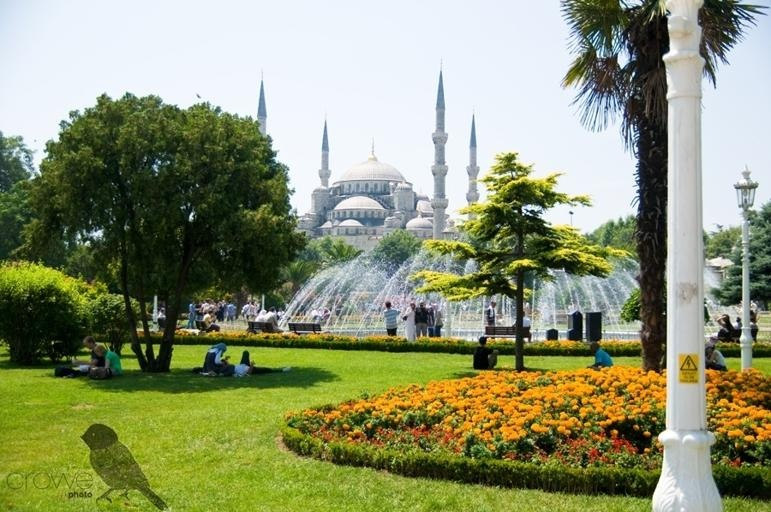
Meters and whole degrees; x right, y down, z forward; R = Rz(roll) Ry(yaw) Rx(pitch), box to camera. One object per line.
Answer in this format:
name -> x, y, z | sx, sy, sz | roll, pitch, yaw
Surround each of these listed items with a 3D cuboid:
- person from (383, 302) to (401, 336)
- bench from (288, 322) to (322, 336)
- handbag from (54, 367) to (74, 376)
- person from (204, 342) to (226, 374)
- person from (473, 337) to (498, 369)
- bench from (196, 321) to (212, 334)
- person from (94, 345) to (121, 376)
person -> 0.189, 2.117, 35.023 | 0.419, 1.150, 1.250 | 1, -7, -2
bench -> -2.915, 2.631, 38.331 | 1.034, 0.646, 4.233 | 1, -8, -6
handbag -> -7.956, 2.889, 26.355 | 0.506, 0.247, 0.340 | 0, -7, 1
person -> -4.425, 2.688, 27.533 | 0.519, 0.847, 0.815 | 2, -7, -10
person -> 2.591, 2.571, 27.900 | 0.571, 0.888, 0.916 | 0, -7, 4
bench -> -6.753, 2.644, 39.282 | 0.442, 0.483, 0.379 | -5, -7, 34
person -> -7.041, 2.626, 26.479 | 0.709, 0.884, 0.877 | -1, 0, 11
